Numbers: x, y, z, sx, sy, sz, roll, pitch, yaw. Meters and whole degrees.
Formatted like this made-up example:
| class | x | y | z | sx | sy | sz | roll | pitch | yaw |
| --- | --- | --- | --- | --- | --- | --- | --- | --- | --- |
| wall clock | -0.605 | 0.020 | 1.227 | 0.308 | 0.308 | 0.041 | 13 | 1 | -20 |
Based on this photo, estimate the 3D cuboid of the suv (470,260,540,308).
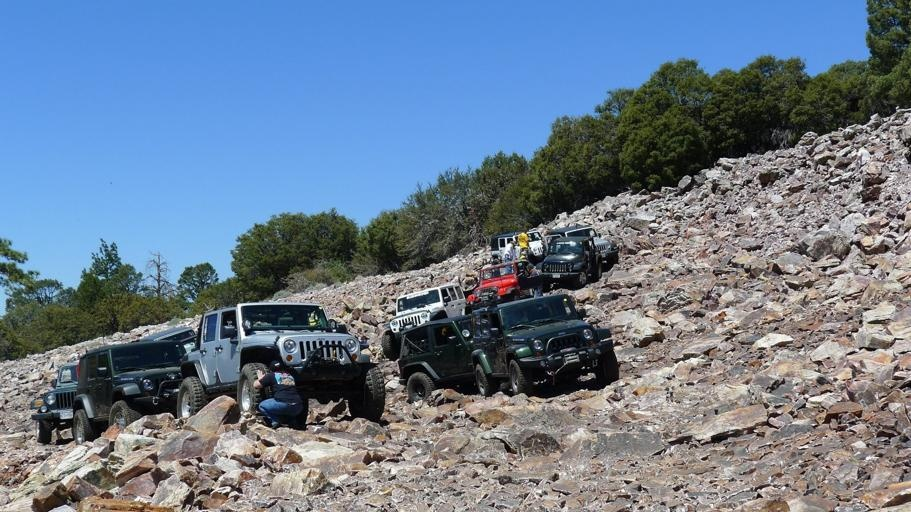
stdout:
| class | x | y | z | sx | sy | sz | roll | pitch | yaw |
| --- | --- | --- | --- | --- | --- | --- | --- | --- | --- |
| suv | 1.997 | 1.055 | 29.248 | 1.688 | 1.266 | 2.741 | -21 | -8 | 37 |

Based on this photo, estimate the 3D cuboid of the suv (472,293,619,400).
| class | x | y | z | sx | sy | sz | roll | pitch | yaw |
| --- | --- | --- | --- | --- | --- | --- | --- | --- | --- |
| suv | 2.470 | 2.670 | 20.624 | 3.989 | 2.887 | 1.759 | -12 | -10 | 2 |

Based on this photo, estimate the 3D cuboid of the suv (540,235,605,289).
| class | x | y | z | sx | sy | sz | roll | pitch | yaw |
| --- | --- | --- | --- | --- | --- | --- | --- | --- | --- |
| suv | 4.937 | 0.345 | 30.396 | 1.746 | 1.498 | 3.017 | -3 | -2 | 23 |

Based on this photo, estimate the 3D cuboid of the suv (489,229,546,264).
| class | x | y | z | sx | sy | sz | roll | pitch | yaw |
| --- | --- | --- | --- | --- | --- | --- | --- | --- | --- |
| suv | 3.288 | -0.598 | 35.666 | 1.565 | 1.305 | 2.349 | -3 | -5 | -35 |

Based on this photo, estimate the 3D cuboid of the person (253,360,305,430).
| class | x | y | z | sx | sy | sz | roll | pitch | yaw |
| --- | --- | --- | --- | --- | --- | --- | --- | --- | --- |
| person | -4.515 | 3.609 | 17.970 | 0.886 | 1.371 | 0.877 | -40 | -52 | 13 |

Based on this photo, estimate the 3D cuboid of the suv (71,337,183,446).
| class | x | y | z | sx | sy | sz | roll | pitch | yaw |
| --- | --- | --- | --- | --- | --- | --- | --- | --- | --- |
| suv | -10.107 | 3.996 | 21.561 | 4.092 | 2.718 | 1.790 | -14 | -10 | 15 |
